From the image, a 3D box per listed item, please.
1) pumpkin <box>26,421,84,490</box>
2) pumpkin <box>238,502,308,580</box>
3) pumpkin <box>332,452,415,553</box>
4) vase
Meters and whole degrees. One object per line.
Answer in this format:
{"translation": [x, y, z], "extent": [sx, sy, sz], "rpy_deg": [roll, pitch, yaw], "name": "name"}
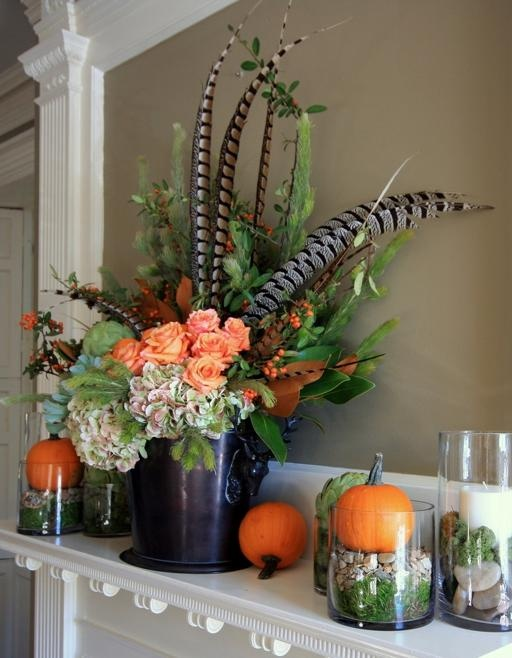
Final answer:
{"translation": [-0.369, 0.247, 1.241], "extent": [0.113, 0.093, 0.104], "rpy_deg": [0, -15, 2], "name": "pumpkin"}
{"translation": [0.024, 0.298, 0.925], "extent": [0.096, 0.097, 0.051], "rpy_deg": [1, -7, -4], "name": "pumpkin"}
{"translation": [0.129, 0.194, 0.735], "extent": [0.078, 0.097, 0.090], "rpy_deg": [3, -7, -23], "name": "pumpkin"}
{"translation": [-0.098, 0.242, 0.958], "extent": [0.227, 0.210, 0.118], "rpy_deg": [0, -7, 3], "name": "vase"}
